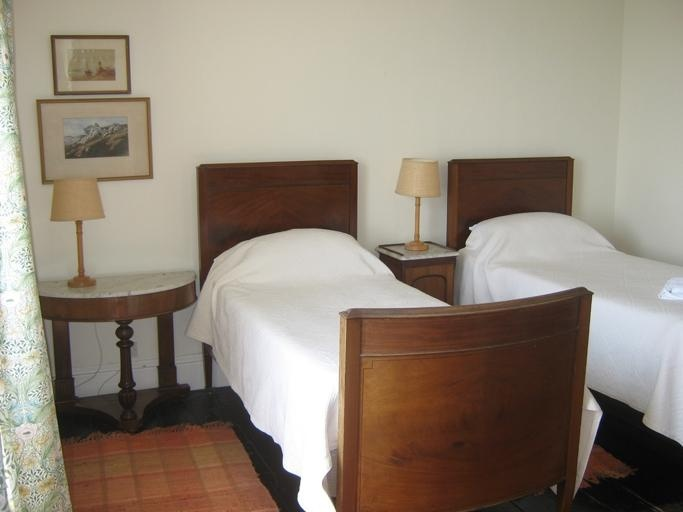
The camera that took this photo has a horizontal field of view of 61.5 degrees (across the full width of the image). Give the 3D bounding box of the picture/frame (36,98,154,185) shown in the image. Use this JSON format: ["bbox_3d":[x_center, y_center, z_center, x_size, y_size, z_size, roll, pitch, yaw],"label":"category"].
[{"bbox_3d":[-1.666,-0.773,3.789,0.624,0.474,0.021,-3,8,-24],"label":"picture/frame"}]

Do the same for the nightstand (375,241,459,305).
[{"bbox_3d":[0.622,0.193,4.459,0.474,0.510,0.365,-6,18,-14],"label":"nightstand"}]

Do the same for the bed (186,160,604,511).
[{"bbox_3d":[0.174,0.425,3.143,1.977,1.769,0.269,-3,6,-22],"label":"bed"}]

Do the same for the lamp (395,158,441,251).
[{"bbox_3d":[0.582,-0.403,4.417,0.320,0.679,0.392,0,13,5],"label":"lamp"}]

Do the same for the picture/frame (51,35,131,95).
[{"bbox_3d":[-1.665,-1.261,3.747,0.407,0.330,0.018,-3,9,-21],"label":"picture/frame"}]

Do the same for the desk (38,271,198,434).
[{"bbox_3d":[-1.484,0.603,3.782,0.937,0.899,0.580,-9,14,-28],"label":"desk"}]

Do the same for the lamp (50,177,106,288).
[{"bbox_3d":[-1.671,-0.150,3.594,0.277,0.671,0.367,-13,18,-40],"label":"lamp"}]
